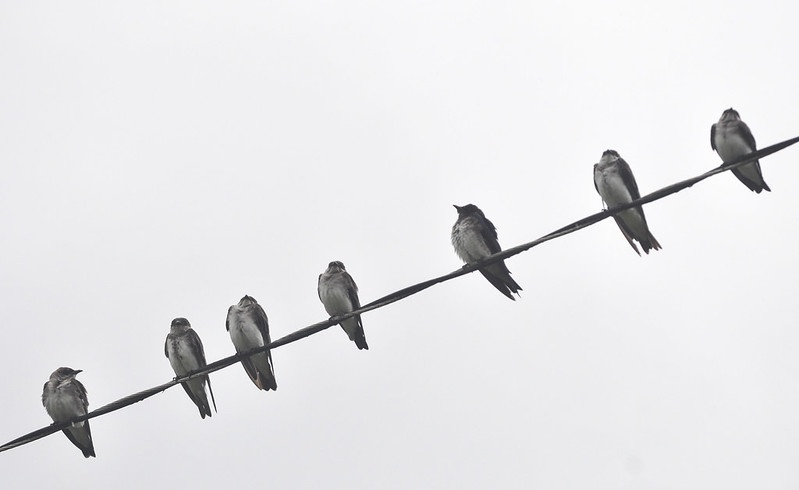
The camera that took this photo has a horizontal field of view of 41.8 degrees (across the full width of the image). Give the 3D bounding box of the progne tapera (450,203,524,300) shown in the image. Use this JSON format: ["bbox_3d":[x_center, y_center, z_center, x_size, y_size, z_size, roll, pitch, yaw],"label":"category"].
[{"bbox_3d":[1.298,0.120,16.147,0.526,1.431,0.665,-34,-27,-2],"label":"progne tapera"}]

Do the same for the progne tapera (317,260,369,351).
[{"bbox_3d":[-0.903,0.958,16.436,0.417,0.551,1.352,-19,-86,31],"label":"progne tapera"}]

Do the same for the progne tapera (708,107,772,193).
[{"bbox_3d":[5.915,-1.669,18.157,1.950,0.709,0.854,41,-120,-39],"label":"progne tapera"}]
